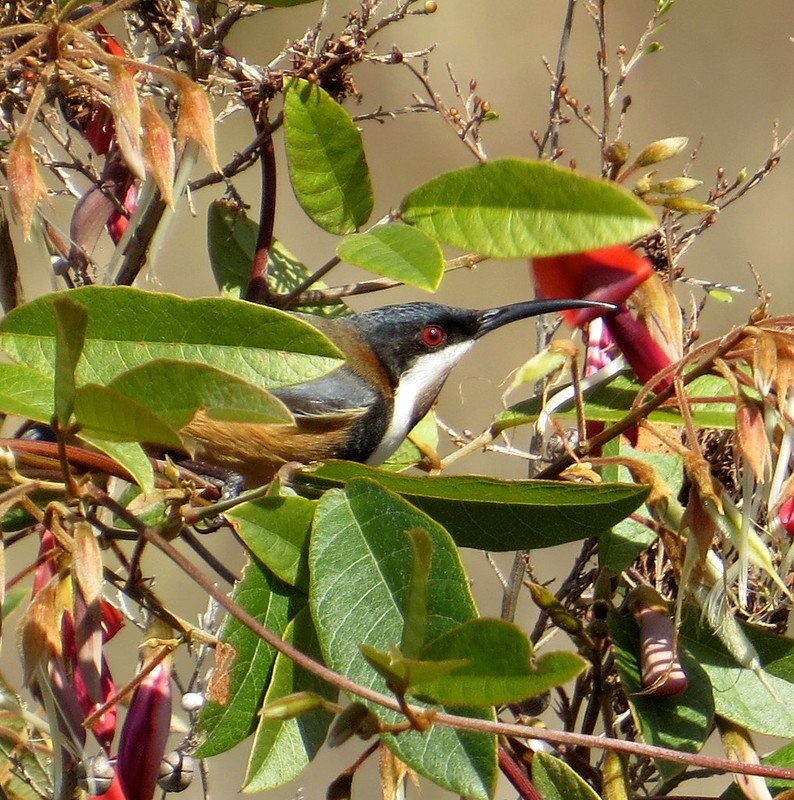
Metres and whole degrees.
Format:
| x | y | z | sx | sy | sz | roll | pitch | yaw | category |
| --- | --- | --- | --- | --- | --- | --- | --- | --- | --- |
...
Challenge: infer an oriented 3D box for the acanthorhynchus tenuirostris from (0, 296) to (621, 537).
| x | y | z | sx | sy | sz | roll | pitch | yaw | category |
| --- | --- | --- | --- | --- | --- | --- | --- | --- | --- |
| -0.078 | 0.014 | 1.195 | 0.295 | 0.147 | 0.089 | 25 | -21 | -1 | acanthorhynchus tenuirostris |
